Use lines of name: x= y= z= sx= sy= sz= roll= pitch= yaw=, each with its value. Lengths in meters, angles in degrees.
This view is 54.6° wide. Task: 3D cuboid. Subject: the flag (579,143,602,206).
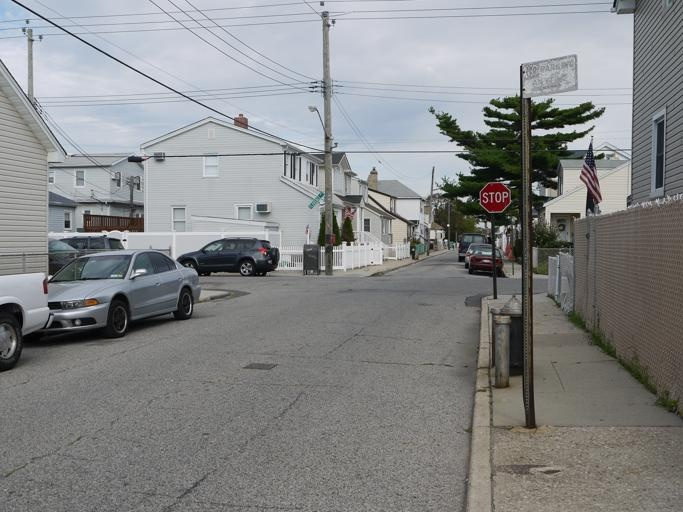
flag: x=6.236 y=-2.111 z=16.480 sx=0.379 sy=1.823 sz=0.315 roll=-4 pitch=34 yaw=16

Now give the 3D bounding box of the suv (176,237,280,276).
suv: x=-5.290 y=0.009 z=31.851 sx=4.114 sy=1.730 sz=1.969 roll=3 pitch=-1 yaw=7

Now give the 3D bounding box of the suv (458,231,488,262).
suv: x=10.572 y=-0.785 z=53.778 sx=2.205 sy=1.913 sz=3.405 roll=1 pitch=5 yaw=10

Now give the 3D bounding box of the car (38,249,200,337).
car: x=-4.680 y=0.707 z=13.734 sx=1.393 sy=1.109 sz=2.990 roll=-1 pitch=-4 yaw=15

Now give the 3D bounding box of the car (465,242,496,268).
car: x=7.707 y=0.031 z=37.262 sx=1.436 sy=1.188 sz=3.452 roll=1 pitch=4 yaw=9

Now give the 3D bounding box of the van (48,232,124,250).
van: x=-10.289 y=-0.610 z=26.518 sx=2.525 sy=1.095 sz=1.268 roll=0 pitch=2 yaw=9

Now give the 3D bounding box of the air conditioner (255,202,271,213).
air conditioner: x=-4.644 y=-2.916 z=39.658 sx=0.973 sy=0.694 sz=0.513 roll=0 pitch=-1 yaw=19
